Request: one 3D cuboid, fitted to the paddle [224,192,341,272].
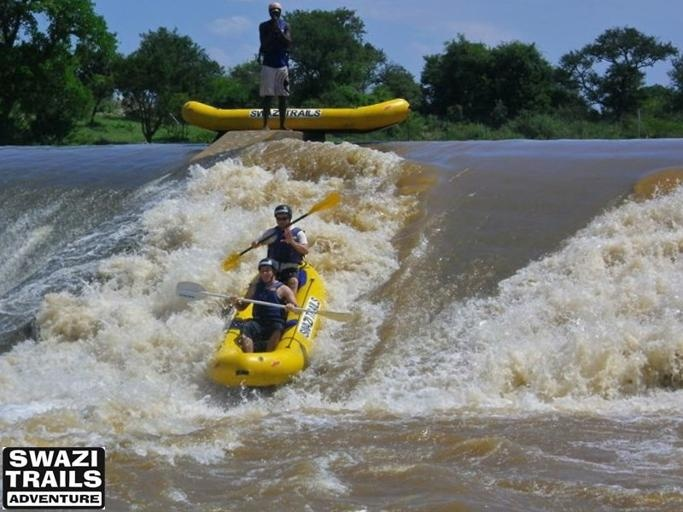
[{"bbox_3d":[-1.073,-0.358,19.882,2.577,0.370,0.110,-31,19,-6],"label":"paddle"}]

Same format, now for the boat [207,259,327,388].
[{"bbox_3d":[-1.106,1.251,18.401,1.317,1.432,2.112,20,25,23],"label":"boat"}]
